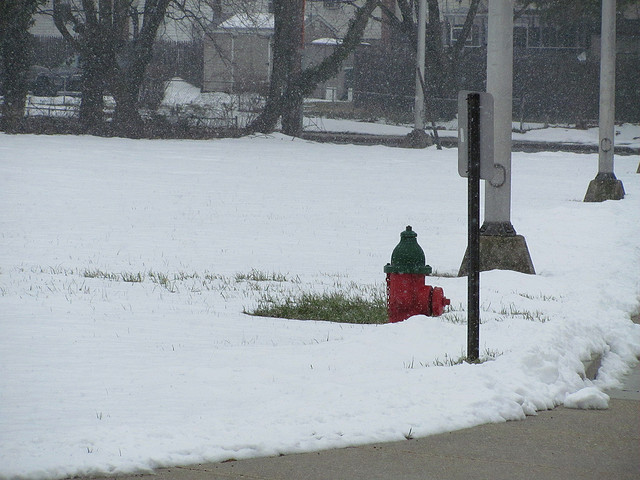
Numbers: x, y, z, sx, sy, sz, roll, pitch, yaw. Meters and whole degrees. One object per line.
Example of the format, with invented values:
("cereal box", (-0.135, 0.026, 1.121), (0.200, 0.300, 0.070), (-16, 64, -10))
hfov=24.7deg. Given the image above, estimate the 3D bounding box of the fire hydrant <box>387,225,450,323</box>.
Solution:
("fire hydrant", (1.821, 0.655, 28.007), (1.060, 1.873, 0.447), (2, 6, 2))
